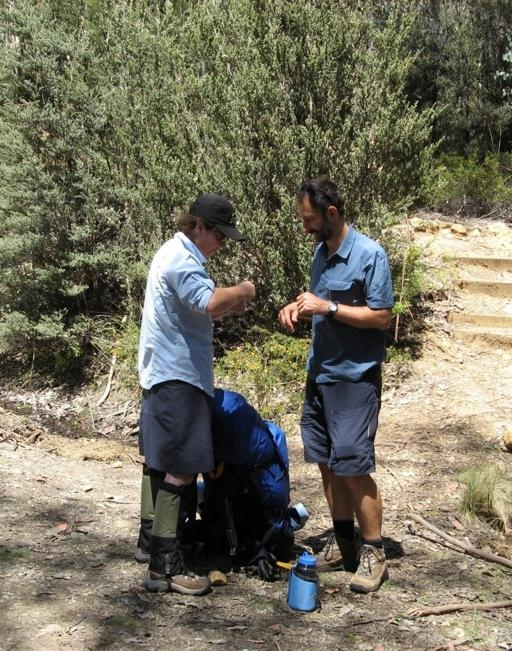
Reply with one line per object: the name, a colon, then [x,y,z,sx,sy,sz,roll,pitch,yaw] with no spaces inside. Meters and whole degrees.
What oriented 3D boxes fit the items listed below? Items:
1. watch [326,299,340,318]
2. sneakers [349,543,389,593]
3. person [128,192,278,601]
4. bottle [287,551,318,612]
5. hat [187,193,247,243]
watch: [0.373,-0.078,2.826,0.054,0.073,0.068,2,-19,3]
sneakers: [0.576,1.212,2.937,0.123,0.192,0.328,-9,-7,31]
person: [-0.322,0.320,2.826,0.486,1.908,0.441,1,7,-12]
bottle: [0.220,1.191,2.706,0.145,0.272,0.093,3,7,5]
hat: [-0.206,-0.532,2.819,0.329,0.152,0.218,19,-4,-7]
